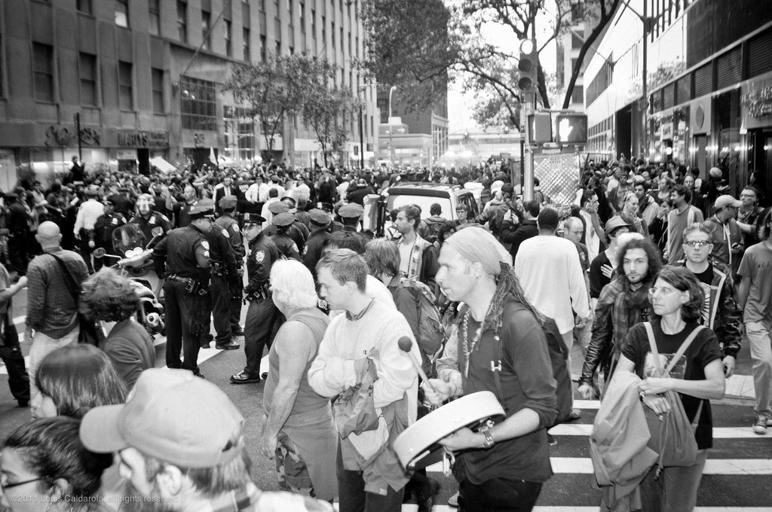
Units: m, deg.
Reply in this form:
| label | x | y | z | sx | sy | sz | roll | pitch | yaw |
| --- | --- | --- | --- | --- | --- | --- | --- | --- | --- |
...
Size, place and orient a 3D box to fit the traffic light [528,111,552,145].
| label | x | y | z | sx | sy | sz | roll | pitch | yaw |
| --- | --- | --- | --- | --- | --- | --- | --- | --- | --- |
| traffic light | 3.483 | -2.891 | 15.078 | 0.525 | 0.691 | 0.447 | 2 | 9 | 12 |

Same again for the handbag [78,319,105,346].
| label | x | y | z | sx | sy | sz | roll | pitch | yaw |
| --- | --- | --- | --- | --- | --- | --- | --- | --- | --- |
| handbag | -3.873 | 0.990 | 8.782 | 0.437 | 0.391 | 0.252 | 7 | 12 | 36 |

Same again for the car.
| label | x | y | z | sx | sy | sz | roll | pitch | yaw |
| --- | --- | --- | --- | --- | --- | --- | --- | --- | --- |
| car | 1.039 | -1.317 | 15.568 | 0.961 | 1.106 | 1.791 | 3 | 16 | 21 |

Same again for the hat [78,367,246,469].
| label | x | y | z | sx | sy | sz | roll | pitch | yaw |
| --- | --- | --- | --- | --- | --- | --- | --- | --- | --- |
| hat | -1.210 | 0.888 | 3.572 | 0.705 | 0.403 | 0.513 | 20 | 23 | -6 |

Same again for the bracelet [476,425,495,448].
| label | x | y | z | sx | sy | sz | roll | pitch | yaw |
| --- | --- | --- | --- | --- | --- | --- | --- | --- | --- |
| bracelet | 0.665 | 1.195 | 4.412 | 0.073 | 0.150 | 0.105 | -2 | -14 | 4 |

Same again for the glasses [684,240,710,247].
| label | x | y | z | sx | sy | sz | roll | pitch | yaw |
| --- | --- | --- | --- | --- | --- | --- | --- | --- | --- |
| glasses | 3.572 | -0.140 | 7.593 | 0.274 | 0.077 | 0.105 | 1 | 10 | 4 |

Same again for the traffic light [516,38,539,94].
| label | x | y | z | sx | sy | sz | roll | pitch | yaw |
| --- | --- | --- | --- | --- | --- | --- | --- | --- | --- |
| traffic light | 3.244 | -4.343 | 15.280 | 0.406 | 1.222 | 0.572 | 1 | 9 | 8 |

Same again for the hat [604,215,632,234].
| label | x | y | z | sx | sy | sz | roll | pitch | yaw |
| --- | --- | --- | --- | --- | --- | --- | --- | --- | --- |
| hat | 3.396 | -0.441 | 9.810 | 0.278 | 0.264 | 0.361 | -1 | 10 | -6 |

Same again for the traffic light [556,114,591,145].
| label | x | y | z | sx | sy | sz | roll | pitch | yaw |
| --- | --- | --- | --- | --- | --- | --- | --- | --- | --- |
| traffic light | 4.509 | -3.076 | 16.091 | 0.627 | 0.760 | 0.427 | -1 | -6 | 1 |
